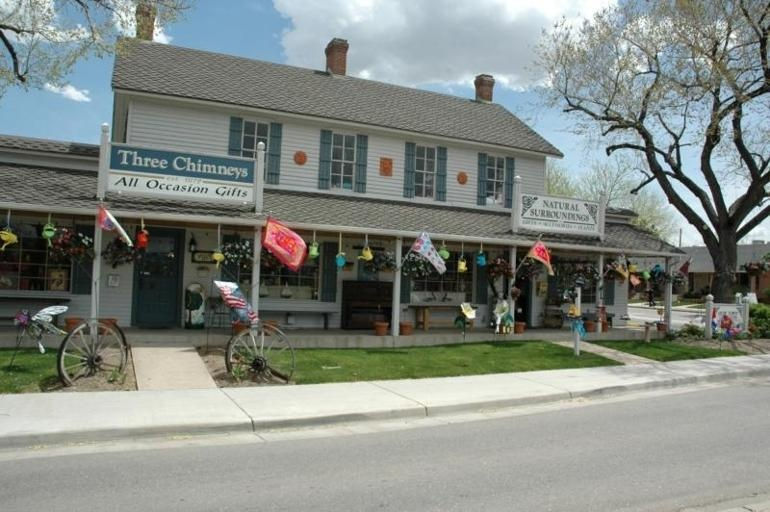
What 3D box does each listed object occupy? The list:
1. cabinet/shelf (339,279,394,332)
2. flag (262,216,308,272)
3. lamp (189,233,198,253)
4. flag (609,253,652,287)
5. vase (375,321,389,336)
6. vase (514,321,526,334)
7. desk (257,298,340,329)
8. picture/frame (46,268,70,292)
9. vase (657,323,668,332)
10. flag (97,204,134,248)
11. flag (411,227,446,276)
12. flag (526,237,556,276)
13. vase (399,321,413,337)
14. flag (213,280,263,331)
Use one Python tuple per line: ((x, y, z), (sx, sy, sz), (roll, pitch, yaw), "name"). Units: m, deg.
((-0.574, 1.646, 22.297), (1.826, 1.565, 0.590), (1, 3, -17), "cabinet/shelf")
((-3.044, -0.300, 18.149), (1.503, 1.129, 0.441), (40, -25, -21), "flag")
((-6.103, -0.404, 20.560), (0.192, 0.584, 0.268), (7, 10, 28), "lamp")
((9.209, 0.625, 24.383), (1.502, 1.338, 2.630), (6, 9, 22), "flag")
((-0.154, 2.287, 20.661), (0.444, 0.328, 0.450), (-6, -10, 33), "vase")
((4.716, 2.494, 22.845), (0.412, 0.293, 0.422), (-5, -7, 41), "vase")
((-2.781, 1.890, 21.531), (2.692, 1.034, 0.464), (0, 9, -15), "desk")
((-9.850, 0.725, 19.384), (0.765, 0.825, 0.113), (0, -3, -25), "picture/frame")
((10.709, 2.722, 24.910), (0.359, 0.280, 0.275), (-1, -5, 14), "vase")
((-6.995, -0.819, 16.611), (0.670, 0.912, 0.804), (-5, 11, -37), "flag")
((1.368, -0.116, 19.769), (0.829, 1.552, 0.085), (-8, 32, 33), "flag")
((5.321, -0.032, 22.131), (1.113, 1.066, 0.393), (20, 0, -1), "flag")
((0.687, 2.313, 21.012), (0.432, 0.319, 0.416), (5, -13, -27), "vase")
((-3.542, 1.125, 15.645), (0.903, 1.115, 0.692), (1, 9, -8), "flag")
